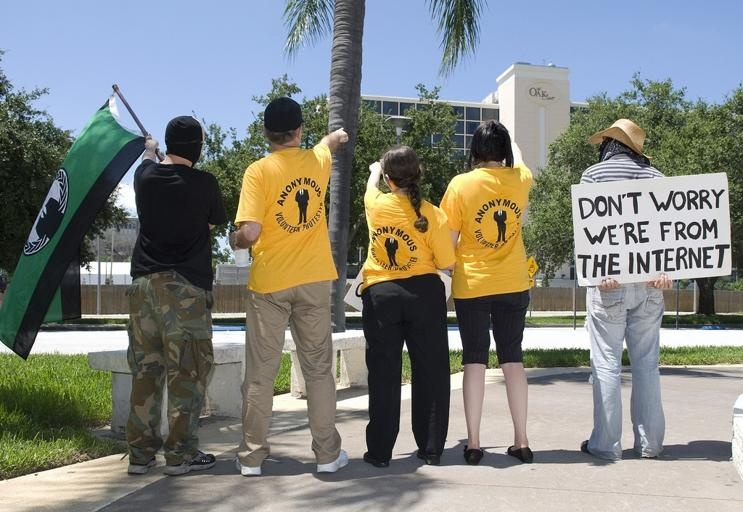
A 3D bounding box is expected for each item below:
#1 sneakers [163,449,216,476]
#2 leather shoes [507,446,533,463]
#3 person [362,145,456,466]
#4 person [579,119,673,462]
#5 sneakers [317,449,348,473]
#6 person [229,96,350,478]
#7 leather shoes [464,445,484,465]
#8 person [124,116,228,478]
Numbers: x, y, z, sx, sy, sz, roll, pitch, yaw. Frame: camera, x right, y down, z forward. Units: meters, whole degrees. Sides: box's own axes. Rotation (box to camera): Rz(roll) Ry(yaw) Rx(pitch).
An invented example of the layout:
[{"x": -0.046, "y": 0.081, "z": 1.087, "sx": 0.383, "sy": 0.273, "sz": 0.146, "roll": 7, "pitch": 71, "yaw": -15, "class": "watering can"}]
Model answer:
[{"x": -1.785, "y": 2.095, "z": 7.914, "sx": 0.535, "sy": 0.236, "sz": 0.189, "roll": -7, "pitch": 4, "yaw": -36, "class": "sneakers"}, {"x": 1.552, "y": 2.037, "z": 8.122, "sx": 0.112, "sy": 0.115, "sz": 0.289, "roll": 1, "pitch": 4, "yaw": -20, "class": "leather shoes"}, {"x": 0.380, "y": 0.497, "z": 8.117, "sx": 0.965, "sy": 3.275, "sz": 0.366, "roll": 0, "pitch": -3, "yaw": -1, "class": "person"}, {"x": 2.693, "y": 0.299, "z": 8.409, "sx": 0.943, "sy": 3.618, "sz": 0.580, "roll": -1, "pitch": -3, "yaw": 13, "class": "person"}, {"x": -0.368, "y": 2.088, "z": 8.000, "sx": 0.133, "sy": 0.159, "sz": 0.363, "roll": 0, "pitch": 1, "yaw": 19, "class": "sneakers"}, {"x": -0.842, "y": 0.283, "z": 7.974, "sx": 1.076, "sy": 3.788, "sz": 0.316, "roll": 0, "pitch": -3, "yaw": -13, "class": "person"}, {"x": 1.057, "y": 2.043, "z": 8.076, "sx": 0.161, "sy": 0.121, "sz": 0.325, "roll": -1, "pitch": -2, "yaw": 9, "class": "leather shoes"}, {"x": -1.999, "y": 0.388, "z": 8.022, "sx": 0.943, "sy": 3.598, "sz": 0.391, "roll": 0, "pitch": -3, "yaw": -10, "class": "person"}]
